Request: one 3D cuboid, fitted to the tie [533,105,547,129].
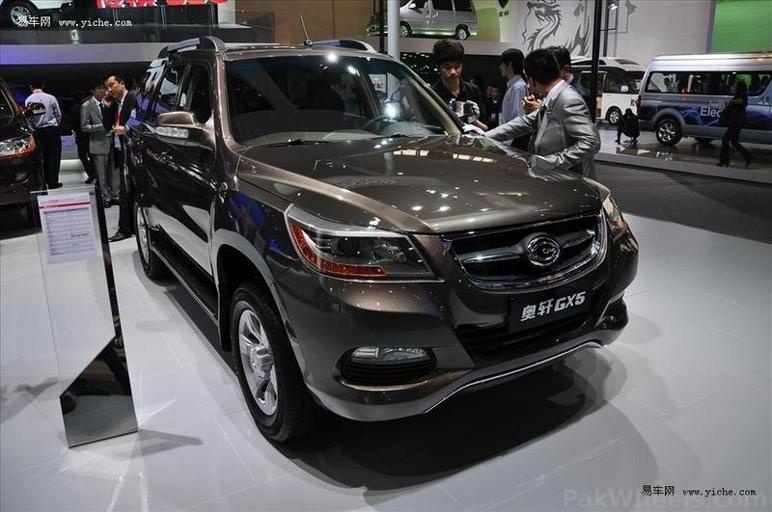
[{"bbox_3d":[1.323,-1.188,3.712,0.064,0.177,0.135,-11,-11,21],"label":"tie"}]

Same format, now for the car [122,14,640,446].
[{"bbox_3d":[-0.580,-0.411,3.427,2.265,1.720,4.079,-15,25,-33],"label":"car"}]

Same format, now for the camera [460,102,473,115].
[{"bbox_3d":[0.701,-1.270,3.726,0.085,0.110,0.095,-16,54,-23],"label":"camera"}]

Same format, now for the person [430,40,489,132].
[{"bbox_3d":[0.749,-1.794,4.817,0.640,1.099,0.613,0,21,20],"label":"person"}]
